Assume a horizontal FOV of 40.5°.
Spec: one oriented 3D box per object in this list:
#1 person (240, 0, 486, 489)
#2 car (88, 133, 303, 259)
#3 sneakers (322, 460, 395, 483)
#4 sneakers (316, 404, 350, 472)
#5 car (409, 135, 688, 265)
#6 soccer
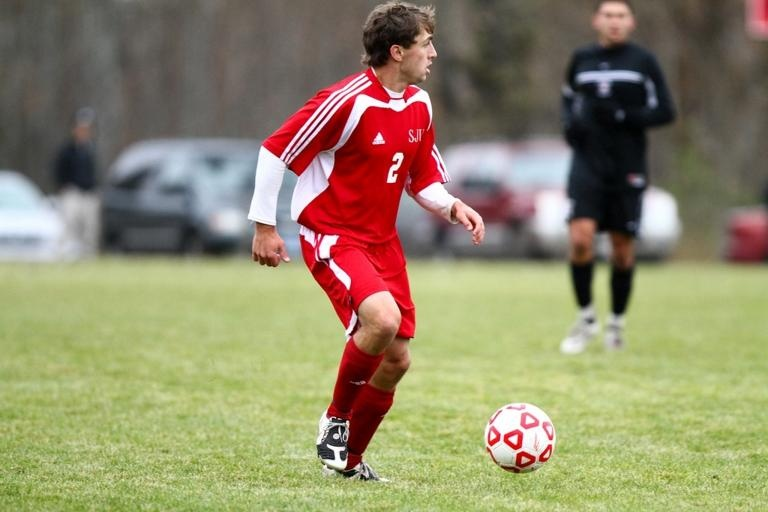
[{"bbox_3d":[-0.243,-0.116,6.632,1.075,2.966,0.639,1,9,0],"label":"person"},{"bbox_3d":[-2.515,-0.703,13.027,1.519,1.421,2.753,0,-3,-12],"label":"car"},{"bbox_3d":[-0.171,1.382,6.666,0.424,0.214,0.156,3,1,4],"label":"sneakers"},{"bbox_3d":[-0.327,1.179,6.632,0.212,0.341,0.167,3,10,12],"label":"sneakers"},{"bbox_3d":[2.369,-0.850,15.735,2.914,1.633,1.900,-2,1,33],"label":"car"},{"bbox_3d":[0.878,1.118,6.664,0.387,0.398,0.419,23,41,-1],"label":"soccer"}]
